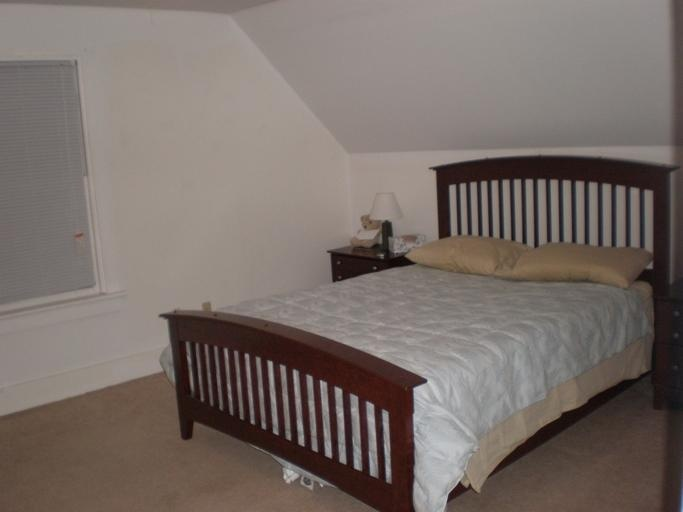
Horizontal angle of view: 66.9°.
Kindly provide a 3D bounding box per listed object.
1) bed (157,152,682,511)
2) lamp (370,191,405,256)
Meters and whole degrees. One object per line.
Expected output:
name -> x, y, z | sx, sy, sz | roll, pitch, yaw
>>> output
bed -> 0.661, 0.478, 3.213 | 2.078, 1.856, 2.563 | 10, 18, 42
lamp -> 0.393, -0.295, 4.578 | 0.365, 0.526, 0.361 | -14, 15, -37
